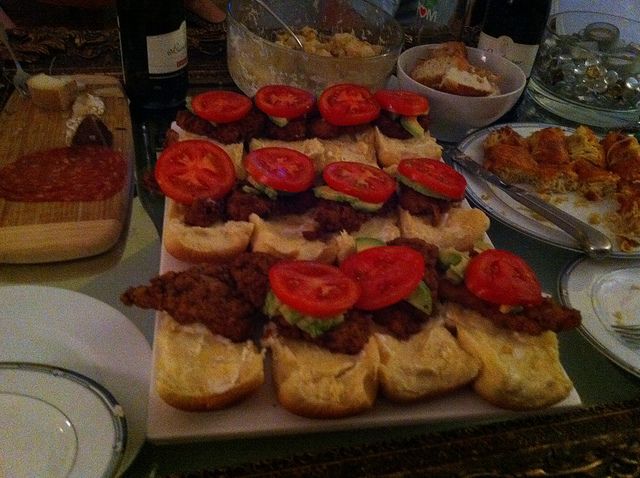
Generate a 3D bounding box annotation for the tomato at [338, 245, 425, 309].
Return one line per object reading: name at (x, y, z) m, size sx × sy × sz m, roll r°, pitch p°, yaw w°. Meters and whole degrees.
tomato at (0.162, 0.068, 1.435) m, size 0.254 × 0.272 × 0.074 m, roll -3°, pitch 43°, yaw -16°

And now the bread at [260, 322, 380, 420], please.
bread at (-0.006, 0.366, 1.353) m, size 0.343 × 0.121 × 0.216 m, roll 11°, pitch 45°, yaw 1°

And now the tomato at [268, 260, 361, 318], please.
tomato at (-0.023, 0.140, 1.377) m, size 0.254 × 0.076 × 0.273 m, roll 9°, pitch 27°, yaw -6°

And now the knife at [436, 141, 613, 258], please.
knife at (0.787, -0.143, 1.915) m, size 0.109 × 0.057 × 0.675 m, roll -39°, pitch 54°, yaw -6°

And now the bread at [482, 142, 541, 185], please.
bread at (0.854, -0.346, 2.170) m, size 0.314 × 0.102 × 0.226 m, roll 2°, pitch 39°, yaw 3°

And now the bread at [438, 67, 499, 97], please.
bread at (0.632, -0.675, 2.128) m, size 0.159 × 0.039 × 0.160 m, roll 10°, pitch 36°, yaw 7°

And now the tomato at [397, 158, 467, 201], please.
tomato at (0.417, -0.219, 1.868) m, size 0.265 × 0.075 × 0.293 m, roll 22°, pitch -6°, yaw -35°

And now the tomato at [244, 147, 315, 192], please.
tomato at (-0.144, -0.235, 1.738) m, size 0.240 × 0.096 × 0.185 m, roll 13°, pitch 45°, yaw 3°

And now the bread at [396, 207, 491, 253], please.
bread at (0.426, -0.040, 1.730) m, size 0.205 × 0.064 × 0.208 m, roll 17°, pitch 43°, yaw 21°

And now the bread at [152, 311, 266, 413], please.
bread at (-0.311, 0.355, 1.319) m, size 0.267 × 0.081 × 0.267 m, roll 17°, pitch 31°, yaw -8°

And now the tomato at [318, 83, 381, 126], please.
tomato at (0.113, -0.534, 1.962) m, size 0.244 × 0.072 × 0.237 m, roll 9°, pitch 45°, yaw -1°

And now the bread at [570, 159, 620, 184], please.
bread at (1.162, -0.285, 2.089) m, size 0.129 × 0.035 × 0.131 m, roll -7°, pitch 42°, yaw -23°

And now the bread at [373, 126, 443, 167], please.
bread at (0.389, -0.445, 2.111) m, size 0.284 × 0.080 × 0.297 m, roll 3°, pitch 24°, yaw -8°

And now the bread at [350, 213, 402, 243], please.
bread at (0.209, -0.040, 1.711) m, size 0.116 × 0.034 × 0.114 m, roll -30°, pitch 51°, yaw -35°

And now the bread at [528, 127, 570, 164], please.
bread at (1.024, -0.421, 2.212) m, size 0.150 × 0.063 × 0.218 m, roll -4°, pitch 55°, yaw 19°

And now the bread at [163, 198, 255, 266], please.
bread at (-0.356, 0.002, 1.579) m, size 0.246 × 0.061 × 0.236 m, roll 29°, pitch 34°, yaw 4°

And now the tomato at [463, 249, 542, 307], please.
tomato at (0.529, 0.119, 1.448) m, size 0.201 × 0.077 × 0.174 m, roll 0°, pitch 45°, yaw -10°

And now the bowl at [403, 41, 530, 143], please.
bowl at (0.635, -0.671, 2.417) m, size 0.559 × 0.385 × 0.569 m, roll 4°, pitch 37°, yaw -3°

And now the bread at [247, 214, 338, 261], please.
bread at (-0.098, -0.017, 1.631) m, size 0.263 × 0.074 × 0.257 m, roll -7°, pitch 47°, yaw -16°

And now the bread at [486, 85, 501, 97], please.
bread at (0.784, -0.673, 2.219) m, size 0.066 × 0.020 × 0.066 m, roll 13°, pitch 53°, yaw 36°

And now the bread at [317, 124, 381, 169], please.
bread at (0.123, -0.355, 1.915) m, size 0.175 × 0.053 × 0.179 m, roll -7°, pitch 56°, yaw -13°
